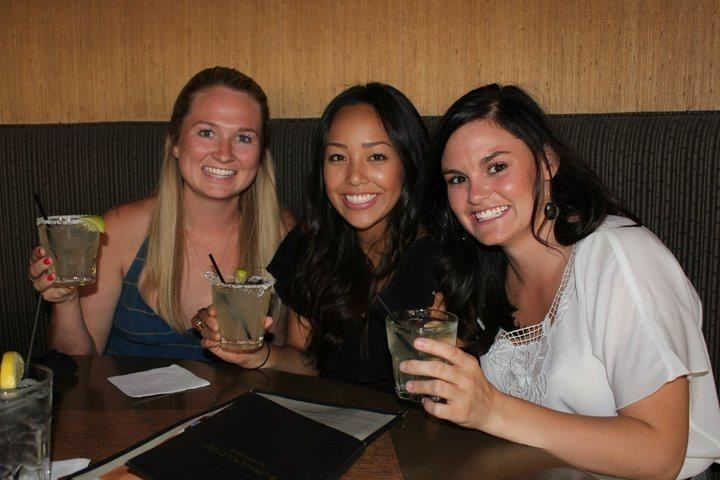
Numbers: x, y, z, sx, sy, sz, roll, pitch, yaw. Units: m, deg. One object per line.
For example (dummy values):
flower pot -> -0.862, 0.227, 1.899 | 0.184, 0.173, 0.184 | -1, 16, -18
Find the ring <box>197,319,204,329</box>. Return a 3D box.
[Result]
ring -> -0.724, 0.377, 2.574 | 0.030, 0.042, 0.010 | -30, -33, 22

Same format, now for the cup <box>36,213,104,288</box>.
cup -> -1.246, 0.044, 2.581 | 0.308, 0.342, 0.309 | 0, 5, 0

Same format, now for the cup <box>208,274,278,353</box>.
cup -> -0.517, 0.310, 2.410 | 0.264, 0.294, 0.268 | 4, 4, 0

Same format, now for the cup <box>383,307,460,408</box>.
cup -> 0.218, 0.427, 2.082 | 0.261, 0.257, 0.289 | -9, 18, 2

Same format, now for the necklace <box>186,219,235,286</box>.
necklace -> -0.888, 0.033, 3.283 | 0.420, 0.389, 0.121 | 2, 8, -3
